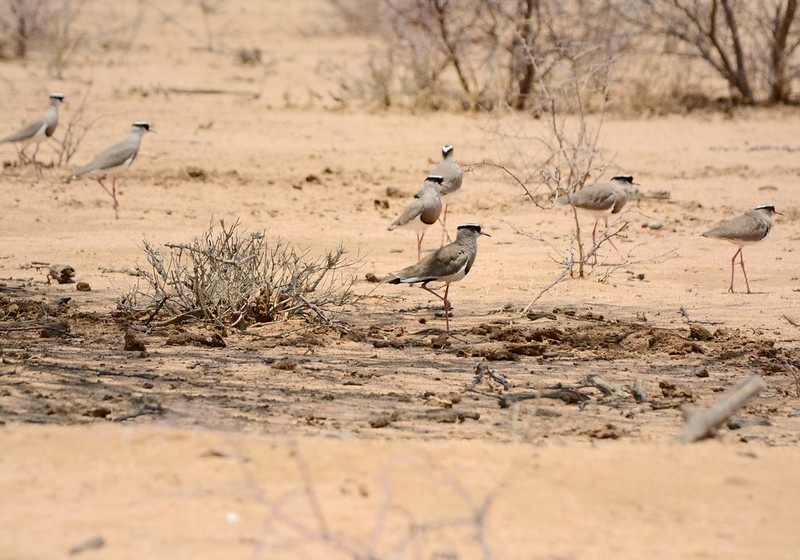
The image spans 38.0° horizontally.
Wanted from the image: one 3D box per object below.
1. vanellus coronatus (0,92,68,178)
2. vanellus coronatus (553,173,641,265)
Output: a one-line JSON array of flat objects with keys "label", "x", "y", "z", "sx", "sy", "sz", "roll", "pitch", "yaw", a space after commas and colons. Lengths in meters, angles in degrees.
[{"label": "vanellus coronatus", "x": -6.134, "y": -2.459, "z": 19.567, "sx": 0.936, "sy": 1.350, "sz": 1.399, "roll": -3, "pitch": 11, "yaw": -15}, {"label": "vanellus coronatus", "x": 2.692, "y": -0.940, "z": 15.966, "sx": 1.463, "sy": 0.869, "sz": 0.531, "roll": 4, "pitch": 5, "yaw": 36}]
